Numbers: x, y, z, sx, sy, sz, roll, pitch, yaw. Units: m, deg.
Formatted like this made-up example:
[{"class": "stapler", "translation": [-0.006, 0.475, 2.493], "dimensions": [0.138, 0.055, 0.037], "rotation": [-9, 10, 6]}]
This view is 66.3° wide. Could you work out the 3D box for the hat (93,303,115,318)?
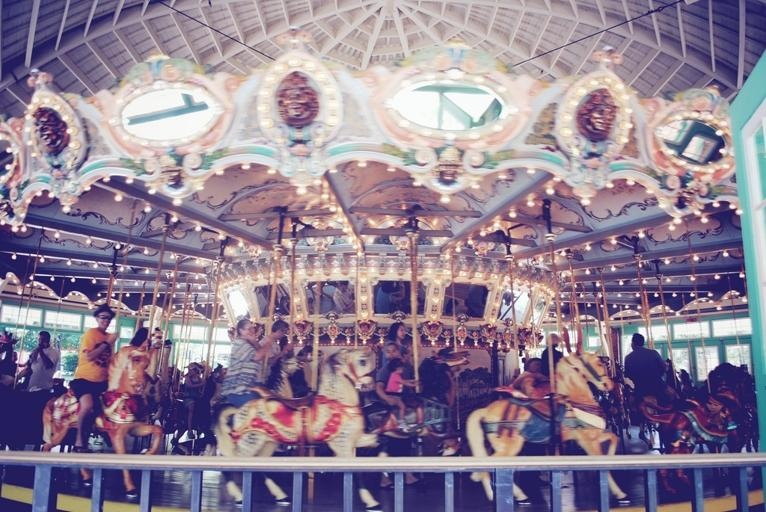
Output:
[{"class": "hat", "translation": [-3.691, 0.725, 7.681], "dimensions": [0.268, 0.142, 0.237], "rotation": [5, 6, -3]}]
